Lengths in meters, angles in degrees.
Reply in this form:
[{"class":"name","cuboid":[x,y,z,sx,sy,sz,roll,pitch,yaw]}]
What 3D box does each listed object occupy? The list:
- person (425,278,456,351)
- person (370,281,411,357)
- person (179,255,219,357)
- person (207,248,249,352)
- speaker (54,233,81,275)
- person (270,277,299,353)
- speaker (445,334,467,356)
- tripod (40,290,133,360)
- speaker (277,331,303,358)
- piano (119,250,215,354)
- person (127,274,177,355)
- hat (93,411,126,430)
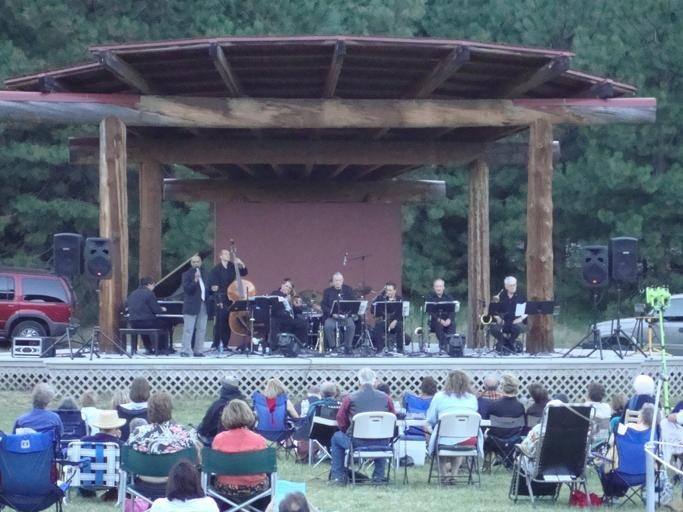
[{"class":"person","cuboid":[2.377,1.459,48.542,0.579,1.794,0.538,0,1,-13]},{"class":"person","cuboid":[1.185,1.461,48.644,0.840,1.628,1.876,0,0,2]},{"class":"person","cuboid":[-3.313,1.181,47.513,0.521,2.303,0.647,14,3,-12]},{"class":"person","cuboid":[-2.689,1.041,48.285,0.883,2.331,0.647,0,-3,-33]},{"class":"speaker","cuboid":[-6.145,-0.006,47.120,0.586,0.962,0.396,0,0,-3]},{"class":"person","cuboid":[-1.302,1.362,48.446,0.573,1.667,0.526,0,2,-12]},{"class":"speaker","cuboid":[2.644,2.098,47.576,0.271,0.542,0.507,2,5,2]},{"class":"tripod","cuboid":[-5.572,1.619,47.590,1.216,1.499,1.110,1,2,1]},{"class":"speaker","cuboid":[-1.145,2.062,47.422,0.636,0.532,0.495,0,0,-22]},{"class":"piano","cuboid":[-3.992,1.280,48.293,2.110,2.672,1.831,2,-2,-6]},{"class":"person","cuboid":[-4.311,1.402,47.523,0.785,1.788,1.289,0,0,16]},{"class":"hat","cuboid":[-4.697,3.403,42.577,0.624,0.399,0.385,0,0,-8]}]
